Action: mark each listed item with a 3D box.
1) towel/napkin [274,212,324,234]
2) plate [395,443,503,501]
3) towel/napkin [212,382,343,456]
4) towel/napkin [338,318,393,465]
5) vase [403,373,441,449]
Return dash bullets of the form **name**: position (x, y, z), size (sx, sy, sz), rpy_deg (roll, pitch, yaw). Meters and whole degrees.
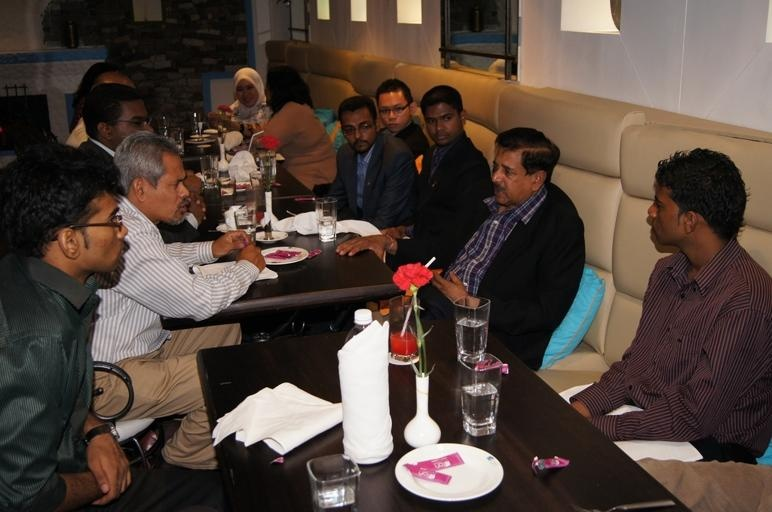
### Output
- **towel/napkin**: position (-0.501, -0.204, 3.131), size (0.178, 0.061, 0.149), rpy_deg (-8, 15, -24)
- **plate**: position (0.176, 0.601, 1.550), size (0.291, 0.052, 0.167), rpy_deg (-1, 17, 0)
- **towel/napkin**: position (-0.343, 0.506, 1.728), size (0.232, 0.073, 0.240), rpy_deg (15, 27, 34)
- **towel/napkin**: position (-0.050, 0.392, 1.555), size (0.152, 0.425, 0.244), rpy_deg (-2, 17, -4)
- **vase**: position (0.107, 0.460, 1.630), size (0.108, 0.216, 0.085), rpy_deg (2, 17, 7)
